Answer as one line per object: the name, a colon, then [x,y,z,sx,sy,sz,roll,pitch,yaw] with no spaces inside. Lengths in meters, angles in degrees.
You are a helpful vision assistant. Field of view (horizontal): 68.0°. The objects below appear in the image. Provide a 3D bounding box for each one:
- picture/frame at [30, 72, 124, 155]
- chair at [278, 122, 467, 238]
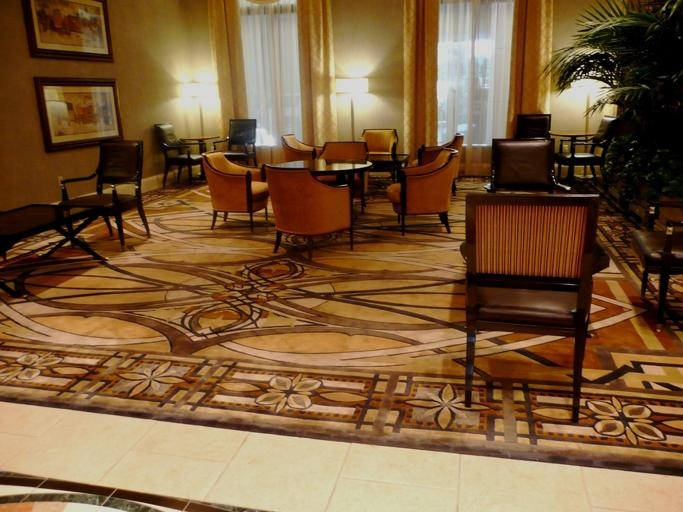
picture/frame: [-3.962,-2.115,7.532,0.096,0.971,1.785,13,23,25]
chair: [0.836,-0.920,6.541,1.310,1.141,0.949,1,26,5]
